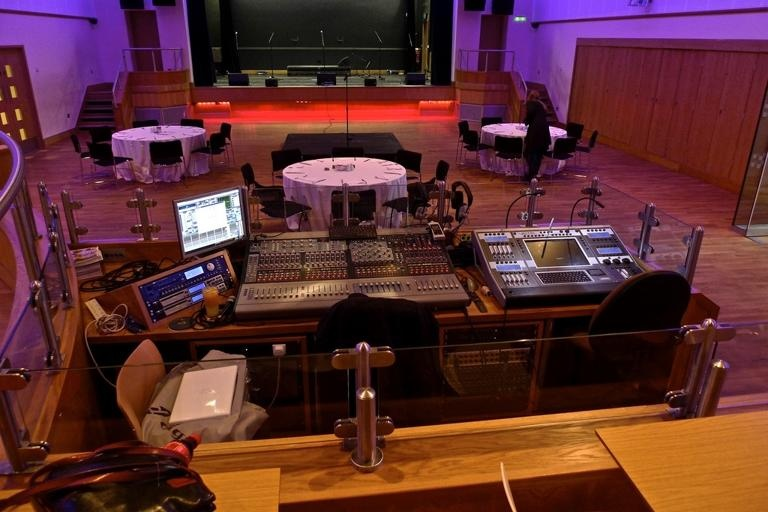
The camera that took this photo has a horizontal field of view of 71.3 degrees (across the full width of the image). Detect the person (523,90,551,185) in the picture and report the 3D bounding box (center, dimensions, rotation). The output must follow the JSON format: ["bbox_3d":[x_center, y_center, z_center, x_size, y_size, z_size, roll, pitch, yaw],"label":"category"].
[{"bbox_3d":[2.243,-1.752,7.898,0.346,1.207,0.301,-1,26,3],"label":"person"}]

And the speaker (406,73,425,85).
[{"bbox_3d":[0.789,-4.567,14.010,0.462,0.261,0.426,-1,30,1],"label":"speaker"}]

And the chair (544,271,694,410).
[{"bbox_3d":[1.127,0.411,2.568,0.462,0.714,0.459,-5,28,-5],"label":"chair"}]

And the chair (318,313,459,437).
[{"bbox_3d":[0.000,0.484,2.514,0.488,0.557,0.555,0,29,1],"label":"chair"}]

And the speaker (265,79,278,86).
[{"bbox_3d":[-2.833,-4.296,13.351,0.291,0.177,0.306,-5,24,-8],"label":"speaker"}]

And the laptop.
[{"bbox_3d":[-0.844,0.656,2.501,0.327,0.081,0.325,-7,56,-8],"label":"laptop"}]

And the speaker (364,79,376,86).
[{"bbox_3d":[-0.368,-4.343,13.565,0.314,0.071,0.269,1,42,-4],"label":"speaker"}]

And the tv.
[{"bbox_3d":[-1.076,-0.184,3.336,0.455,0.316,0.047,-19,25,-37],"label":"tv"}]
